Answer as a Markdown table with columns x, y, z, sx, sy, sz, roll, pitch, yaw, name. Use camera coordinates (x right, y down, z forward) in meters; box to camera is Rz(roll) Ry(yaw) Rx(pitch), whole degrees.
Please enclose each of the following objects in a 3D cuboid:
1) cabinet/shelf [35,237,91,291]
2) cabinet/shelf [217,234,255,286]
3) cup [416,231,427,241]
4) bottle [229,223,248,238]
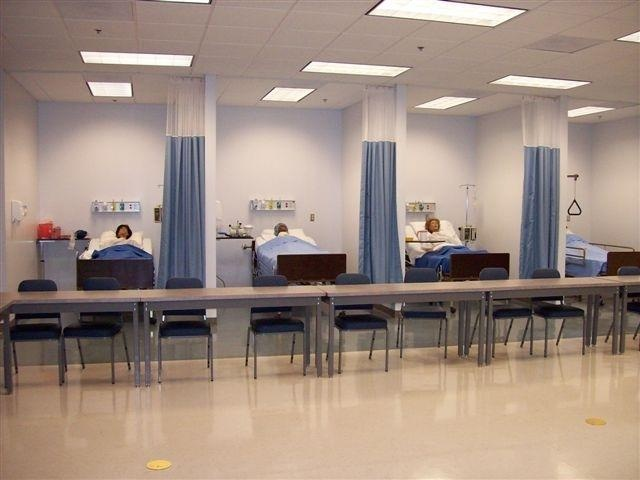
| x | y | z | sx | sy | sz | roll | pitch | yaw | name |
| --- | --- | --- | --- | --- | --- | --- | --- | --- | --- |
| -4.268 | 0.360 | 9.554 | 1.223 | 0.991 | 0.876 | 0 | 5 | -14 | cabinet/shelf |
| -1.473 | 0.328 | 9.857 | 0.535 | 0.808 | 0.890 | -2 | 6 | -26 | cabinet/shelf |
| 1.780 | -0.077 | 9.949 | 0.215 | 0.138 | 0.168 | -1 | -1 | 17 | cup |
| -1.380 | -0.168 | 9.719 | 0.249 | 0.114 | 0.319 | -1 | 9 | -14 | bottle |
